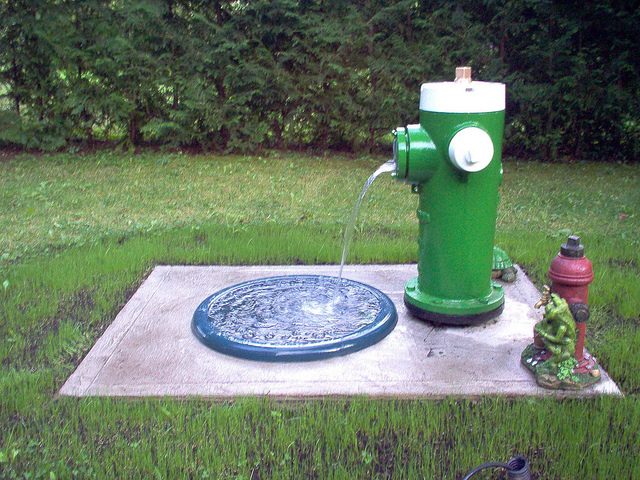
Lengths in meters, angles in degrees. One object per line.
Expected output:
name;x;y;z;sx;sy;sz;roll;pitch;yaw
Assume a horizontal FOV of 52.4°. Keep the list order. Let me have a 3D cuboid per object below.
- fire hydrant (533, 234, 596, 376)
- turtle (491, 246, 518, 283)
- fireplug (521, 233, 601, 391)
fire hydrant;1.587;0.410;4.168;0.394;0.860;0.292;7;15;27
turtle;1.477;0.205;5.192;0.182;0.146;0.290;0;1;4
fireplug;1.585;0.416;4.283;0.482;0.947;0.521;6;17;10
